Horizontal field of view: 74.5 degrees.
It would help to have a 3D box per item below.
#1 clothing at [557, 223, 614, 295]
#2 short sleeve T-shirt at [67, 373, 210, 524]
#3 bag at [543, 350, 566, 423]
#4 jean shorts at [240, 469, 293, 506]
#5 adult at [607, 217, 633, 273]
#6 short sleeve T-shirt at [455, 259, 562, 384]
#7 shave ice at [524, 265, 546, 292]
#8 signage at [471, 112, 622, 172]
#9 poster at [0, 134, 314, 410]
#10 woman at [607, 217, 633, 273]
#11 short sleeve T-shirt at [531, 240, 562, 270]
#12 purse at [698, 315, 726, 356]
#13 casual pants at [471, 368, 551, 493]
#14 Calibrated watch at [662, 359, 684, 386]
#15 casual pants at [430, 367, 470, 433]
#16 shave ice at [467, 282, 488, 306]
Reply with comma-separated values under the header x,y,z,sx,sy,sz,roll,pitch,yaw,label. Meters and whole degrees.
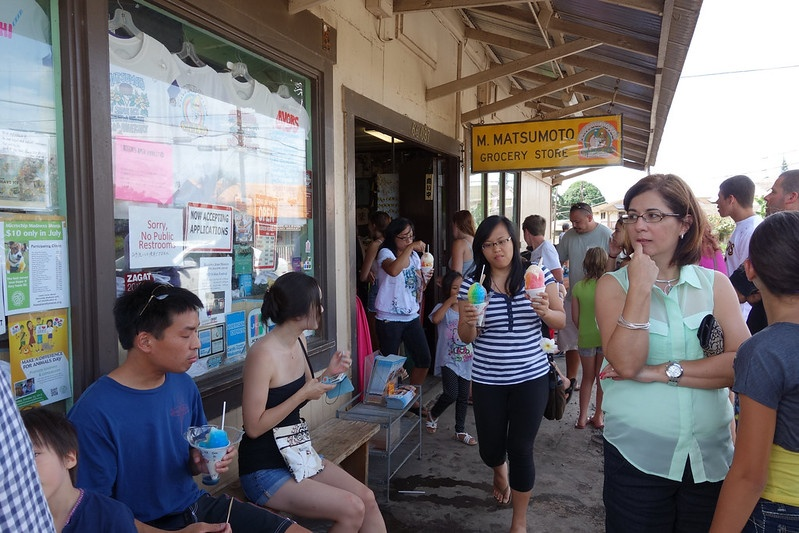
x,y,z,sx,sy,sz,roll,pitch,yaw,label
2.067,-0.101,5.821,0.257,0.733,0.640,7,22,-44,clothing
-1.310,0.929,2.634,0.366,0.721,0.727,4,7,28,short sleeve T-shirt
1.224,0.912,4.144,0.177,0.557,0.573,0,38,14,bag
-0.780,1.290,3.144,0.218,0.177,0.233,-21,3,39,jean shorts
1.832,-0.160,4.392,0.200,0.205,0.636,1,40,19,adult
0.796,0.419,3.859,0.989,1.063,0.557,-2,-16,5,short sleeve T-shirt
0.925,0.081,3.564,0.120,0.176,0.099,1,-4,12,shave ice
1.910,-1.608,6.879,2.346,0.918,0.098,1,6,27,signage
-1.494,0.051,3.158,0.012,1.543,2.089,-2,0,22,poster
1.832,-0.160,4.392,0.200,0.205,0.636,1,40,19,woman
1.609,-0.122,5.761,0.171,0.247,0.324,-3,10,-21,short sleeve T-shirt
1.578,0.345,2.652,0.078,0.159,0.141,-17,-31,37,purse
0.798,1.188,3.816,0.532,0.828,0.293,1,5,16,casual pants
1.357,0.542,2.614,0.066,0.116,0.105,-1,2,22,Calibrated watch
0.535,1.394,5.415,0.281,0.338,0.593,20,-9,4,casual pants
0.545,0.198,3.688,0.129,0.167,0.134,0,-8,6,shave ice
